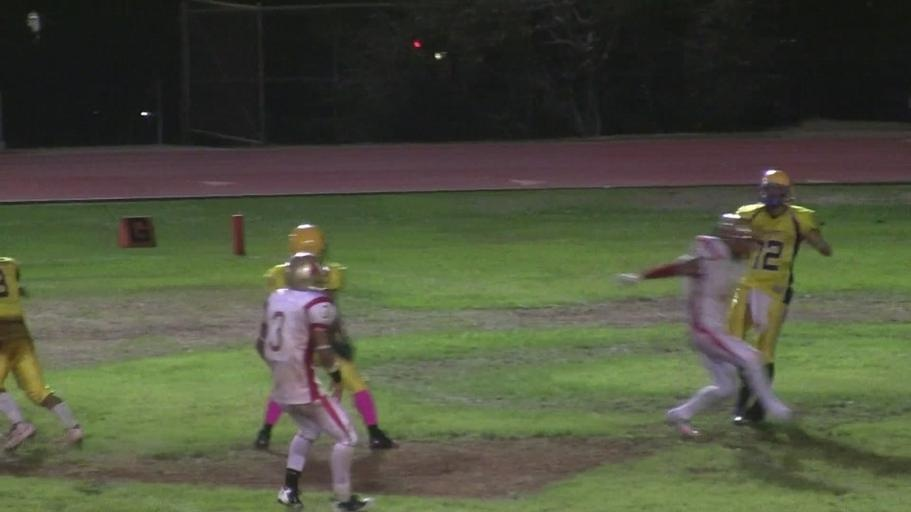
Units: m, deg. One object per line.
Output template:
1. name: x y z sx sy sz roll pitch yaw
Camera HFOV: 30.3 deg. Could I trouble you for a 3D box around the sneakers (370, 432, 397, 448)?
1. sneakers: -1.530 3.749 34.222 0.631 0.197 0.264 1 3 -12
